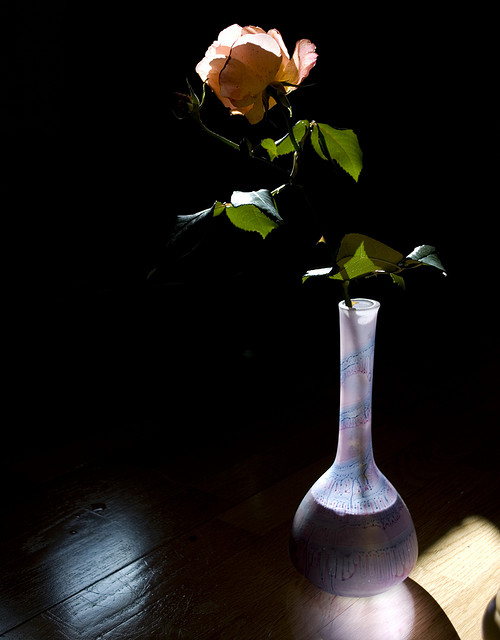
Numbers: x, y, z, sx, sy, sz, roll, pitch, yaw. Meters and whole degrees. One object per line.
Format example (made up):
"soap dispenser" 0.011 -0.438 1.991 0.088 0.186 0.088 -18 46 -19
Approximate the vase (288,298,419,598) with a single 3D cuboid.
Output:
"vase" 0.103 0.135 0.602 0.134 0.302 0.078 1 13 13
